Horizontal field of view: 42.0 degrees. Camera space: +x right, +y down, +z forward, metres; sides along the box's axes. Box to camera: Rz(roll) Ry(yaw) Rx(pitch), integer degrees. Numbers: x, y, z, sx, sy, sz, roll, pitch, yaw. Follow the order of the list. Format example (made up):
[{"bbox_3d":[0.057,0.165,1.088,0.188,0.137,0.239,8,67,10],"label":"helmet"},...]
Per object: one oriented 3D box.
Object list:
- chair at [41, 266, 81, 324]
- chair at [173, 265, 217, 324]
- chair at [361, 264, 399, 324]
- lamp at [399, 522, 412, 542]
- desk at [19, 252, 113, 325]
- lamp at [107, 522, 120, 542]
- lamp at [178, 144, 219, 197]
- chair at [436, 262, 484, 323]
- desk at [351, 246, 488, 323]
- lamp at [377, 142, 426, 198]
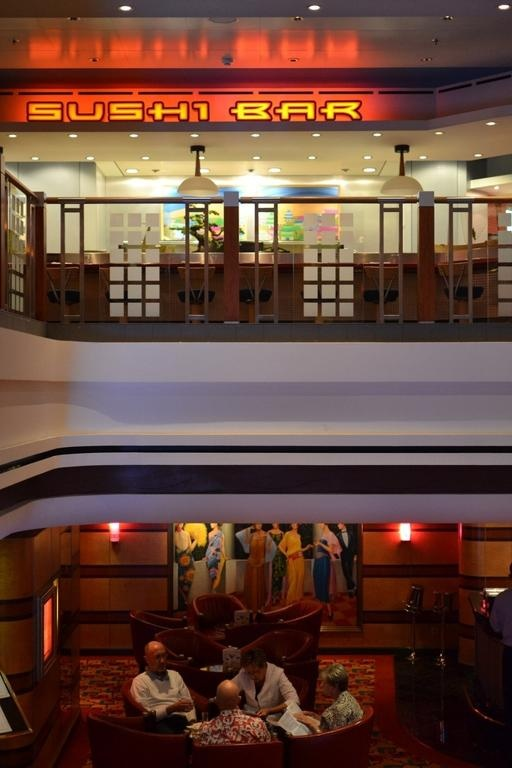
[{"bbox_3d":[-1.649,-0.756,5.863,0.358,0.590,0.423,-7,16,-8],"label":"chair"},{"bbox_3d":[-0.533,-0.799,5.991,0.322,0.560,0.391,-3,14,-12],"label":"chair"},{"bbox_3d":[1.041,-0.666,5.557,0.298,0.634,0.419,5,2,7],"label":"chair"},{"bbox_3d":[1.956,1.967,8.744,0.171,0.241,0.102,1,5,6],"label":"lamp"},{"bbox_3d":[-1.544,-0.846,5.653,0.545,0.628,2.964,-1,7,-14],"label":"desk"},{"bbox_3d":[-1.827,1.924,8.582,0.177,0.229,0.128,0,5,-1],"label":"lamp"},{"bbox_3d":[-0.775,-2.832,8.895,0.571,0.656,0.578,-7,11,-37],"label":"lamp"},{"bbox_3d":[1.730,-0.717,5.631,0.381,0.597,0.340,-8,9,-31],"label":"chair"},{"bbox_3d":[1.484,-0.987,5.664,1.071,0.707,0.640,2,29,29],"label":"desk"},{"bbox_3d":[1.931,-2.804,8.800,0.559,0.639,0.562,1,3,28],"label":"lamp"}]
